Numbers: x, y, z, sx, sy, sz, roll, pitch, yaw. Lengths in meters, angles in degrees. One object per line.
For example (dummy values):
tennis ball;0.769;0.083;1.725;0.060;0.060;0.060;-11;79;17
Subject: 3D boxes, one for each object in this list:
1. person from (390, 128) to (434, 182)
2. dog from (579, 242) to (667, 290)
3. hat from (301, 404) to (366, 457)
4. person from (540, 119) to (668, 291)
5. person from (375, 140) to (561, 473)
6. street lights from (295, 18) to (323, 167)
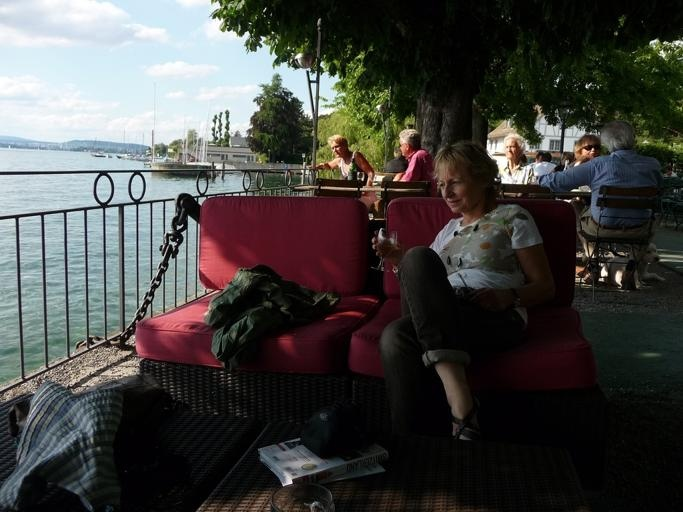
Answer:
person;1.040;-1.411;8.198;0.635;1.060;0.747;-9;7;-13
dog;3.462;0.144;6.733;0.689;0.401;0.913;-4;1;-37
hat;-0.052;0.594;1.802;0.123;0.102;0.132;11;-1;17
person;3.152;-0.610;6.241;1.417;1.916;1.009;-1;4;0
person;0.634;0.125;2.756;0.795;1.364;1.138;7;17;34
street lights;-0.670;-3.213;10.723;0.722;3.141;0.586;8;26;9
